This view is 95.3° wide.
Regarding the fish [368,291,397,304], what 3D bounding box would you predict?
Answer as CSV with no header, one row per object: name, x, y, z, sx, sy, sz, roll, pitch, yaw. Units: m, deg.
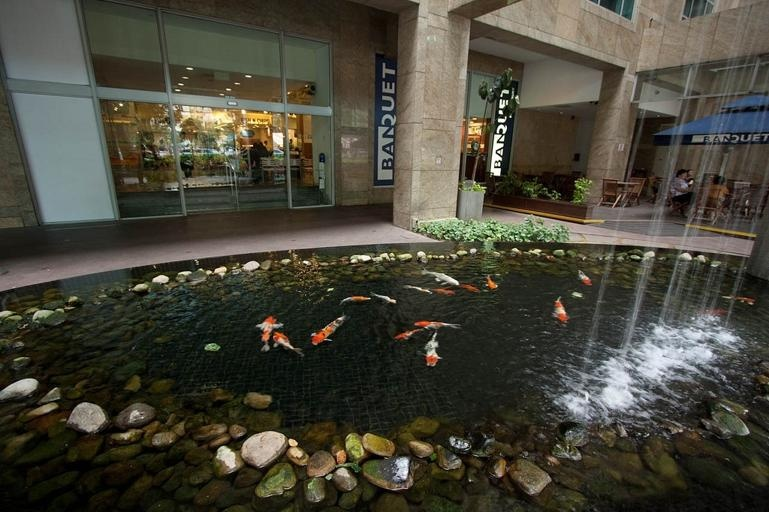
fish,-0.039,0.621,5.145,0.401,0.113,0.094,11,36,26

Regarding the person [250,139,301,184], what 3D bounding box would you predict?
person,-3.537,-2.943,10.661,1.165,1.271,0.214,0,19,-1

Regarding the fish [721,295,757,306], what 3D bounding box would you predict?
fish,5.528,0.680,5.467,0.374,0.060,0.322,10,16,38

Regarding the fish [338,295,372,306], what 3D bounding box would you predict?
fish,-0.426,0.649,5.084,0.588,0.178,0.126,1,21,-1

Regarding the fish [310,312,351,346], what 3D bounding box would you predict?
fish,-0.721,0.962,4.378,0.209,0.102,0.429,17,24,21

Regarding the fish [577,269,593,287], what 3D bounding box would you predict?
fish,3.389,0.392,5.945,0.179,0.093,0.281,4,17,7

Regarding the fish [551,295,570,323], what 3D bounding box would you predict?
fish,2.455,0.805,4.919,0.157,0.155,0.419,-5,18,6

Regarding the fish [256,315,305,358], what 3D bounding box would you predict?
fish,-1.369,0.994,4.286,0.422,0.134,0.530,7,14,-34
